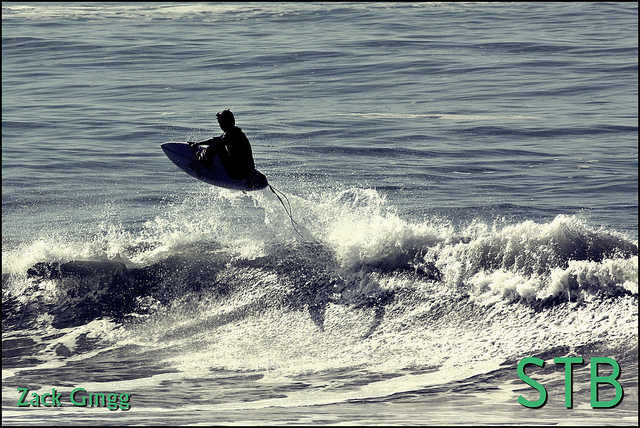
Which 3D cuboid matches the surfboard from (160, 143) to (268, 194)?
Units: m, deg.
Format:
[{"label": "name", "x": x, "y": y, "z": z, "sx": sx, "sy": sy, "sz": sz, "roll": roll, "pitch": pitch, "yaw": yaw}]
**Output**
[{"label": "surfboard", "x": -3.281, "y": -1.736, "z": 33.283, "sx": 4.738, "sy": 1.505, "sz": 1.317, "roll": 17, "pitch": 53, "yaw": 37}]
